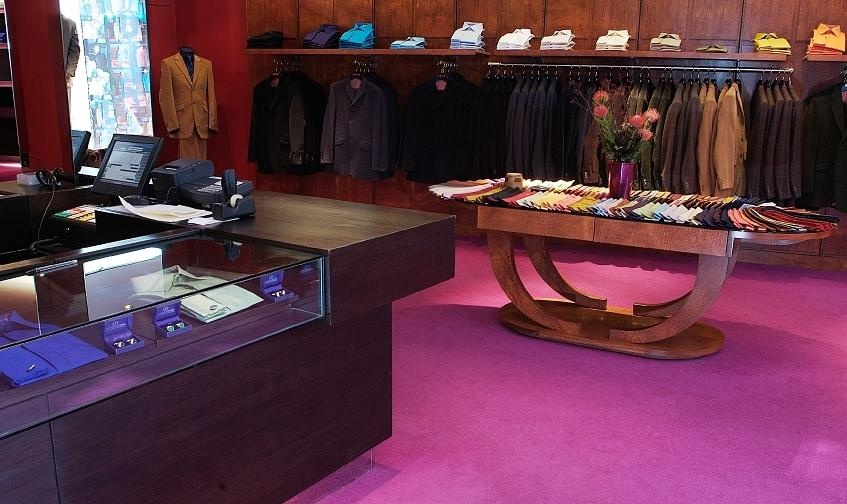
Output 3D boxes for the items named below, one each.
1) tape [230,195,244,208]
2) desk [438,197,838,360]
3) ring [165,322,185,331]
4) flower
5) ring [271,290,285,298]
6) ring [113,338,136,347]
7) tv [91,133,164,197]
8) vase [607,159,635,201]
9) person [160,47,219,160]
[{"bbox_3d":[-0.988,-0.267,2.806,0.055,0.066,0.072,-8,-16,43],"label":"tape"},{"bbox_3d":[1.476,0.177,4.230,2.845,0.957,0.966,7,11,35],"label":"desk"},{"bbox_3d":[-0.931,0.286,1.973,0.036,0.011,0.038,2,14,0],"label":"ring"},{"bbox_3d":[1.527,-0.910,3.903,0.508,0.560,0.527,10,27,-7],"label":"flower"},{"bbox_3d":[-0.607,0.181,2.212,0.030,0.009,0.032,0,16,0],"label":"ring"},{"bbox_3d":[-1.063,0.334,1.881,0.043,0.010,0.047,4,21,-1],"label":"ring"},{"bbox_3d":[-1.856,-0.541,3.266,0.536,0.339,0.303,13,22,32],"label":"tv"},{"bbox_3d":[1.474,-0.534,3.913,0.174,0.270,0.102,4,19,9],"label":"vase"},{"bbox_3d":[-3.234,-2.022,7.232,0.696,1.489,0.311,-8,21,-23],"label":"person"}]
